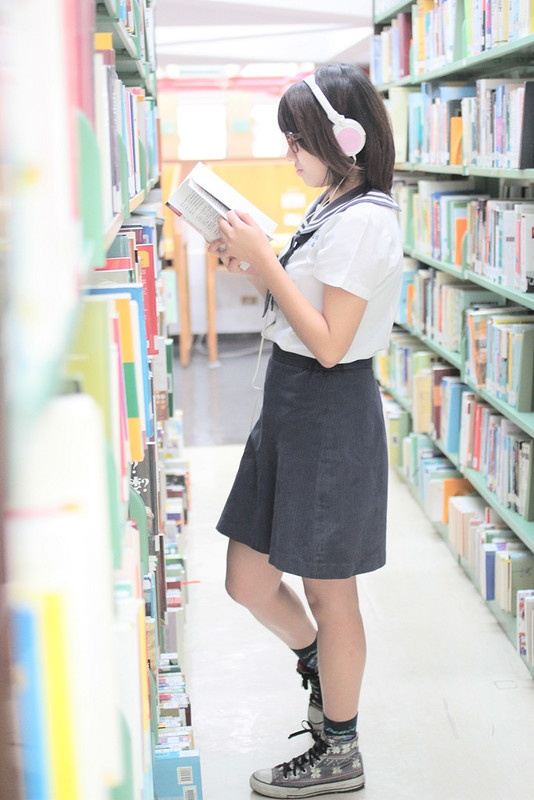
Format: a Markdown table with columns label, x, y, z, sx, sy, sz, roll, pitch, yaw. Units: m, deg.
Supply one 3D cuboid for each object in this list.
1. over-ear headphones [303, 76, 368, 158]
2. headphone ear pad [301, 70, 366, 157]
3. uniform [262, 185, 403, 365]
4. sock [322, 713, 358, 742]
| label | x | y | z | sx | sy | sz | roll | pitch | yaw |
| --- | --- | --- | --- | --- | --- | --- | --- | --- | --- |
| over-ear headphones | 0.124 | -0.520 | 1.398 | 0.050 | 0.139 | 0.141 | -39 | 0 | 9 |
| headphone ear pad | 0.121 | -0.523 | 1.400 | 0.054 | 0.150 | 0.152 | -39 | -1 | 9 |
| uniform | 0.096 | -0.229 | 1.565 | 0.267 | 0.373 | 0.490 | 5 | 15 | -3 |
| sock | 0.159 | 0.716 | 1.685 | 0.056 | 0.050 | 0.069 | -4 | -12 | 28 |
